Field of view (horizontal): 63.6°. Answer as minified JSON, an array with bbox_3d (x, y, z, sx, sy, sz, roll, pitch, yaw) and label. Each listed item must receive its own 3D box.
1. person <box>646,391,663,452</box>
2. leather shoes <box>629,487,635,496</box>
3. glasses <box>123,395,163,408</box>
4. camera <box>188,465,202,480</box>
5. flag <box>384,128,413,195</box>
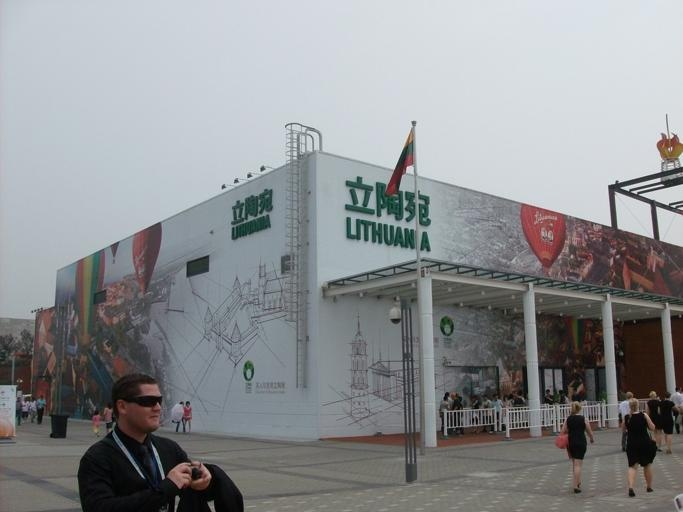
[{"bbox_3d":[9.727,5.205,17.130,0.518,1.813,0.453,-10,-43,29],"label":"person"},{"bbox_3d":[5.956,4.813,11.247,0.085,0.122,0.282,-3,-12,18],"label":"leather shoes"},{"bbox_3d":[-1.498,1.103,4.188,0.269,0.091,0.137,9,-19,-32],"label":"glasses"},{"bbox_3d":[-1.122,1.656,4.236,0.077,0.083,0.095,33,-1,-23],"label":"camera"},{"bbox_3d":[2.169,-3.418,19.520,0.768,1.734,2.219,1,-16,-7],"label":"flag"}]
